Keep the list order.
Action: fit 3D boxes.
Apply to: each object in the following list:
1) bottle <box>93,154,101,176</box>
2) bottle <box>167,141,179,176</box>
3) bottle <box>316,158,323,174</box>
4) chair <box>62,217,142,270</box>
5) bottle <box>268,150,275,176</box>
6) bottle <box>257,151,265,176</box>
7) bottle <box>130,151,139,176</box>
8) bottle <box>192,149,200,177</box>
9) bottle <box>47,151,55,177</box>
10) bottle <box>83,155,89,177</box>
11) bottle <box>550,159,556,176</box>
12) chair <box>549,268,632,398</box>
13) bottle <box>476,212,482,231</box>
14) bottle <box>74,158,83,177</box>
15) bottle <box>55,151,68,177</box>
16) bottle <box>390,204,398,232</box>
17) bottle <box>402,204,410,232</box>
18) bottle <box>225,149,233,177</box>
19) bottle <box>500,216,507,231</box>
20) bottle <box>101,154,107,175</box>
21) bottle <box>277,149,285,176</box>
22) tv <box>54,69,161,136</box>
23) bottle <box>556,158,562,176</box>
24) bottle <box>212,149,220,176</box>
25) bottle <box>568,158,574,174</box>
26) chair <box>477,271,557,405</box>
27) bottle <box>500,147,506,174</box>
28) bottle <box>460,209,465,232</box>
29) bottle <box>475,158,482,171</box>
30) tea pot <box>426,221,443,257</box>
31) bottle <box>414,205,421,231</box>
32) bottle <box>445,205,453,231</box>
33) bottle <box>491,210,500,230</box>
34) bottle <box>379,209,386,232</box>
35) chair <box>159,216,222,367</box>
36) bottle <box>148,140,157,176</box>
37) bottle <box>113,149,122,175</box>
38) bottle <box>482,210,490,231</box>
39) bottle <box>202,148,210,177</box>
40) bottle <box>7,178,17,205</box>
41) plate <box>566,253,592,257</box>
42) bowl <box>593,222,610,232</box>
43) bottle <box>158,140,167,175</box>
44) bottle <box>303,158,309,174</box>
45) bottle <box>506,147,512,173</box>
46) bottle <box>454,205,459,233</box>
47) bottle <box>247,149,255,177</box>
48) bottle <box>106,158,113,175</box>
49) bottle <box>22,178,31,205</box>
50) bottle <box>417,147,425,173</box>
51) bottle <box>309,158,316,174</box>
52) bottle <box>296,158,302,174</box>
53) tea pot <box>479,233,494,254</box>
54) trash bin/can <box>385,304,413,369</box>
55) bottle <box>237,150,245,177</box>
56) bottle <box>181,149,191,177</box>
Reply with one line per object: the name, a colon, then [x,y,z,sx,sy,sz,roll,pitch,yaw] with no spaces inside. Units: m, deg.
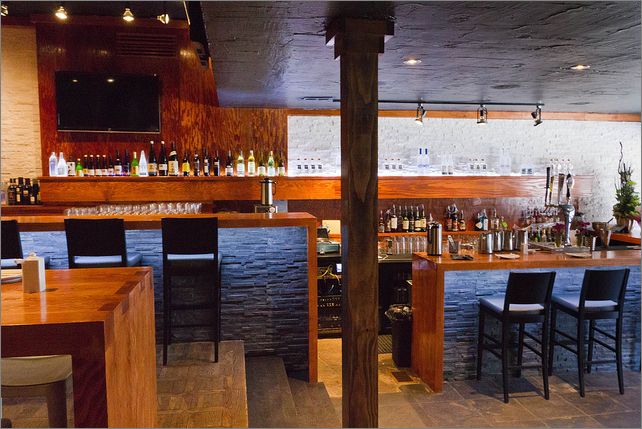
bottle: [-3.153,-0.710,7.916,0.097,0.285,0.166,-3,6,-21]
bottle: [-2.119,-0.817,8.047,0.149,0.480,0.196,-3,6,-15]
bottle: [-0.024,-0.764,8.637,0.070,0.232,0.072,-1,6,0]
chair: [-2.192,0.257,5.724,0.553,0.876,0.595,0,4,1]
bottle: [-0.736,-0.776,8.295,0.125,0.362,0.143,-2,6,-6]
bottle: [-0.870,-0.776,8.249,0.105,0.352,0.132,-2,6,-6]
bottle: [-2.666,-0.746,8.022,0.110,0.324,0.150,-3,6,-17]
bottle: [-1.801,-0.763,8.106,0.091,0.363,0.149,-1,6,0]
bottle: [-3.731,-0.724,7.826,0.111,0.325,0.149,-1,6,-1]
bottle: [-3.308,-0.708,7.898,0.070,0.284,0.135,-3,6,-23]
bottle: [3.762,-0.788,9.130,0.099,0.267,0.327,1,6,21]
chair: [2.859,1.190,6.028,0.734,1.342,0.727,2,7,27]
bottle: [2.507,0.097,8.966,0.117,0.287,0.152,1,6,16]
bottle: [-3.378,-0.672,7.833,0.106,0.255,0.234,-3,6,-20]
bottle: [-3.611,-0.725,7.835,0.142,0.326,0.180,-3,6,-19]
bottle: [1.139,0.048,8.714,0.109,0.396,0.228,0,6,5]
bottle: [1.315,0.053,8.741,0.102,0.387,0.240,0,6,6]
bottle: [-1.342,-0.768,8.153,0.120,0.365,0.128,-1,6,0]
bottle: [2.922,0.106,8.956,0.118,0.173,0.330,1,5,18]
bottle: [-3.064,-0.726,7.953,0.078,0.294,0.106,-3,6,-20]
bottle: [-0.584,-0.783,8.315,0.098,0.354,0.095,-1,6,0]
tv: [-3.038,-1.608,7.858,1.047,0.608,0.103,0,9,-9]
bottle: [3.867,-0.799,9.197,0.087,0.256,0.206,2,6,24]
bottle: [-1.513,-0.761,8.135,0.100,0.356,0.146,-2,6,-8]
bottle: [4.101,-0.823,9.247,0.087,0.239,0.183,2,6,26]
chair: [2.053,1.217,5.918,0.766,1.363,0.657,0,6,10]
bottle: [2.963,-0.885,9.135,0.122,0.418,0.063,-1,6,-3]
bottle: [2.245,0.079,8.918,0.098,0.311,0.171,0,6,14]
bottle: [2.522,-0.813,9.075,0.094,0.203,0.050,-1,6,-1]
tea pot: [1.258,0.266,6.218,0.158,0.340,0.233,0,6,10]
bottle: [1.505,0.047,8.796,0.097,0.381,0.199,0,6,7]
bottle: [2.032,0.048,8.883,0.126,0.388,0.155,0,6,12]
bottle: [2.777,0.042,8.984,0.125,0.294,0.245,1,6,16]
bottle: [0.940,0.094,8.670,0.088,0.330,0.267,0,6,7]
chair: [-1.311,0.739,5.701,0.594,1.471,0.548,-2,6,-11]
bottle: [-2.411,-0.830,8.049,0.131,0.488,0.124,-1,6,0]
bottle: [-2.877,-0.759,7.958,0.122,0.376,0.175,-3,6,-20]
bottle: [2.615,0.068,8.962,0.119,0.328,0.193,1,6,15]
bottle: [-1.657,-0.779,8.136,0.100,0.374,0.111,-2,6,-7]
bottle: [-4.292,-0.328,7.805,0.118,0.357,0.101,-5,7,-32]
plate: [2.827,0.442,6.149,0.261,0.030,0.170,0,5,9]
bowl: [3.558,0.137,7.165,0.243,0.151,0.220,1,4,20]
bottle: [-2.272,-0.832,8.072,0.135,0.488,0.136,-1,6,0]
bottle: [-0.230,-0.762,8.606,0.078,0.231,0.088,-1,6,-2]
bottle: [3.049,-0.887,9.151,0.077,0.419,0.104,2,7,22]
bottle: [2.130,0.037,8.896,0.098,0.408,0.176,0,6,12]
bottle: [-1.018,-0.771,8.187,0.125,0.367,0.184,-2,6,-8]
bottle: [-2.975,-0.709,7.959,0.083,0.277,0.157,-3,6,-20]
bottle: [-4.110,-0.339,7.845,0.097,0.357,0.125,-3,6,-22]
bottle: [1.577,-0.868,8.901,0.098,0.398,0.120,0,6,8]
bottle: [-0.125,-0.763,8.618,0.079,0.231,0.082,-1,6,0]
bottle: [-0.339,-0.756,8.591,0.092,0.240,0.092,-1,6,0]
tea pot: [1.860,0.313,6.327,0.163,0.231,0.117,1,6,14]
trash bin/can: [0.924,1.417,6.527,0.251,0.671,0.282,-2,6,-13]
bottle: [-1.169,-0.758,8.132,0.133,0.365,0.259,-2,6,-9]
bottle: [-1.943,-0.761,8.079,0.117,0.363,0.171,-2,6,-14]
